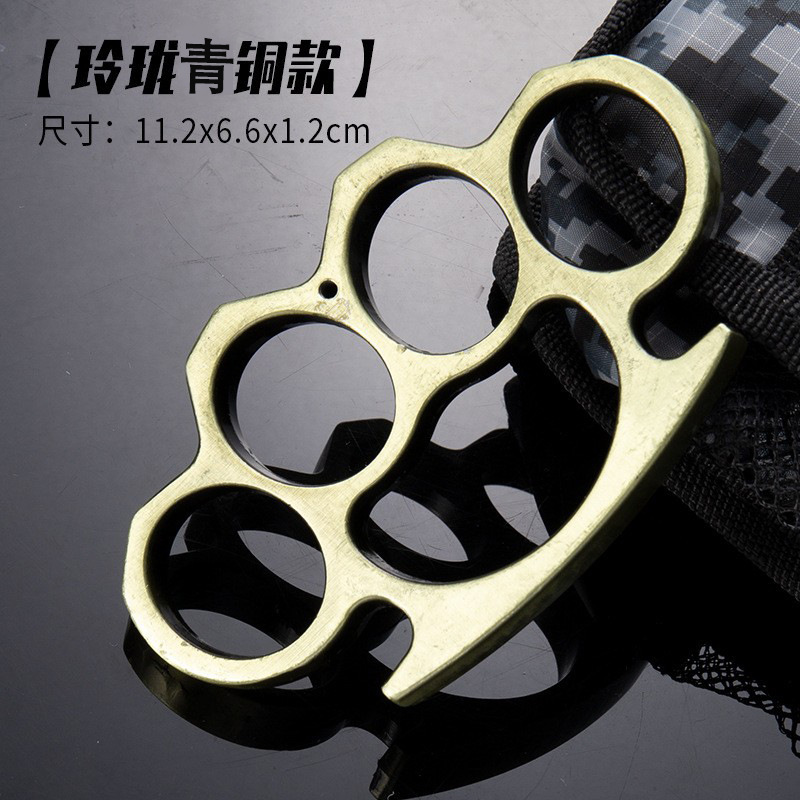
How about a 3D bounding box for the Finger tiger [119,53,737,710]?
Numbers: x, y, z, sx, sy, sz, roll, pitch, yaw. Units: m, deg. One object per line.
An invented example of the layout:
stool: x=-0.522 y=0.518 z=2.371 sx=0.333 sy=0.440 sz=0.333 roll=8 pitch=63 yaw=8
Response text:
Finger tiger: x=0.014 y=-0.017 z=0.587 sx=0.279 sy=0.347 sz=0.266 roll=19 pitch=36 yaw=-11
